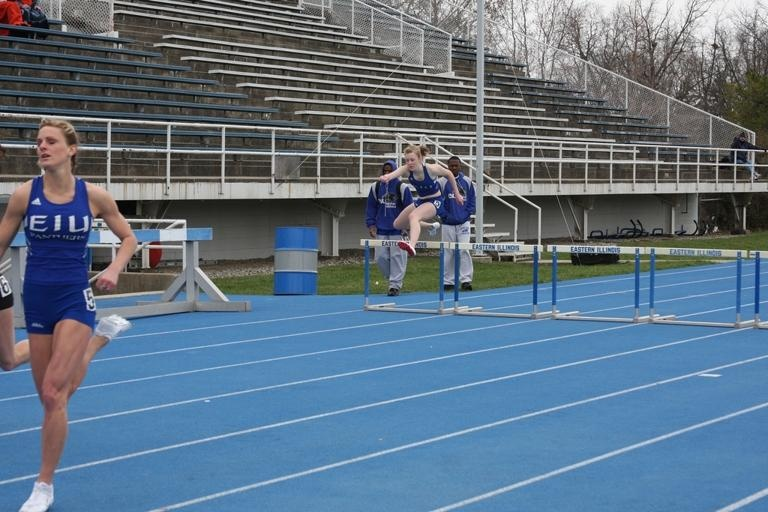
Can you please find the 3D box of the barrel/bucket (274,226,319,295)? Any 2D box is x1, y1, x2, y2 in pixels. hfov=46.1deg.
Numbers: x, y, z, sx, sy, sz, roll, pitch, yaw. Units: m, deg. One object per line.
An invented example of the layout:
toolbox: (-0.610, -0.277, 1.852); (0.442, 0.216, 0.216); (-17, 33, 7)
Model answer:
barrel/bucket: (-1.377, 0.089, 14.235); (0.656, 1.057, 0.384); (0, 4, -9)
